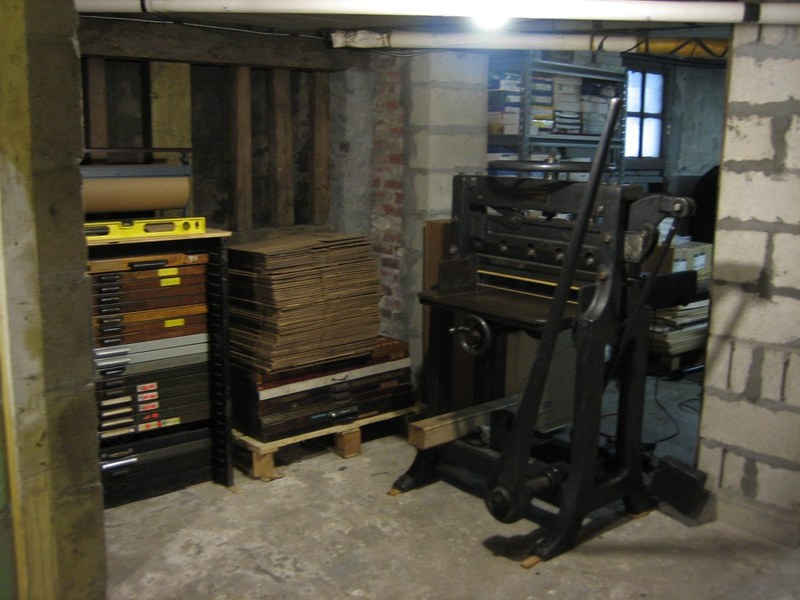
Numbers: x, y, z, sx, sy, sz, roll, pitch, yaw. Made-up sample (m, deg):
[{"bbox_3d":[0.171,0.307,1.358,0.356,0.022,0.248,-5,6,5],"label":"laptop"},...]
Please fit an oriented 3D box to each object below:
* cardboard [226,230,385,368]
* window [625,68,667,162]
[{"bbox_3d":[-0.660,-0.004,4.529,0.869,0.828,0.536,-12,21,-40],"label":"cardboard"},{"bbox_3d":[2.904,-2.182,8.253,0.277,1.012,0.804,15,21,37],"label":"window"}]
